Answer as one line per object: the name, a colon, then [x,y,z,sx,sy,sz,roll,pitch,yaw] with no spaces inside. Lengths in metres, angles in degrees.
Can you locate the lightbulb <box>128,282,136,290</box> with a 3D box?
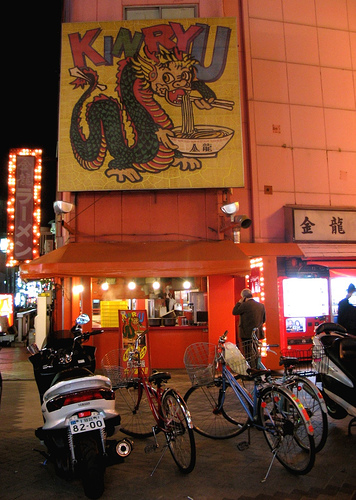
lightbulb: [-1.438,1.090,14.168,0.293,0.264,0.320,0,-5,0]

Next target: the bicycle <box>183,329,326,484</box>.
bicycle: [0.808,1.757,5.374,0.755,1.209,2.003,-11,3,-29]

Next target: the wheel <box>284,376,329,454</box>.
wheel: [1.611,1.901,5.752,0.435,0.849,2.645,-4,-6,16]

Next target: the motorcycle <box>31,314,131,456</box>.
motorcycle: [-1.208,1.655,5.216,0.812,1.356,2.271,-3,-8,-21]

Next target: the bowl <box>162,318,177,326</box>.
bowl: [-0.227,1.805,11.659,0.241,0.131,0.228,-1,-2,0]

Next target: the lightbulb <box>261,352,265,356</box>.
lightbulb: [2.009,2.458,11.020,0.081,0.092,0.105,-3,-6,8]

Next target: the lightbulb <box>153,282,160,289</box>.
lightbulb: [-0.620,0.991,13.048,0.207,0.222,0.197,3,18,-5]

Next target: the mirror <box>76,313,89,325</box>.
mirror: [-1.163,0.838,5.747,0.162,0.146,0.049,-3,-20,11]

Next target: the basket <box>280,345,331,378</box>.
basket: [1.850,1.565,6.514,0.423,0.273,0.654,4,-1,41]

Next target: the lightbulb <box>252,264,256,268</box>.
lightbulb: [1.903,0.408,11.765,0.117,0.101,0.060,0,-8,1]

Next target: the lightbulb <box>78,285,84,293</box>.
lightbulb: [-2.505,1.002,11.919,0.143,0.197,0.582,-1,-6,-12]

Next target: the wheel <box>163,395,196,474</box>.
wheel: [0.035,1.874,4.709,0.248,0.736,0.752,0,-7,-15]
